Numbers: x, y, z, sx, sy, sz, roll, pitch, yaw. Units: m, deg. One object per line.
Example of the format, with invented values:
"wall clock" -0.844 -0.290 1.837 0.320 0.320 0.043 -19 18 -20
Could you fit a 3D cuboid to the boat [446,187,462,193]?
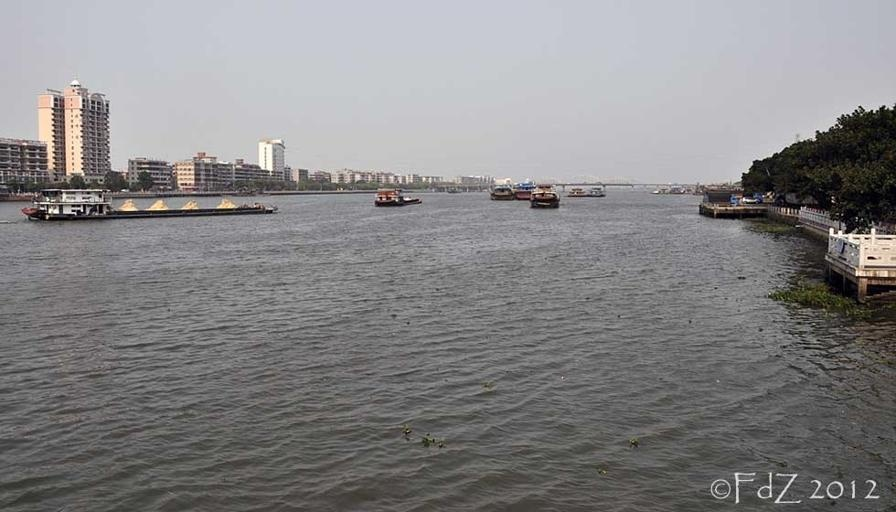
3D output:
"boat" 3.774 -48.708 486.289 7.797 2.993 10.218 1 0 15
